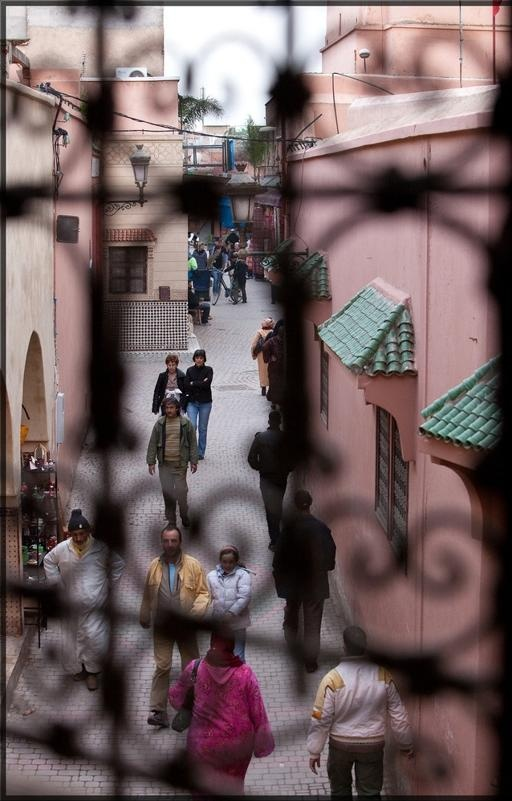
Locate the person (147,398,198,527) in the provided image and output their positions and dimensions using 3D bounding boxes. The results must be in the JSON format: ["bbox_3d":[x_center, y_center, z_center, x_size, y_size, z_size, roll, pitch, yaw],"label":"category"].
[{"bbox_3d":[-0.891,0.629,7.992,0.541,1.296,0.913,-1,8,-14],"label":"person"}]

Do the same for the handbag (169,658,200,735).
[{"bbox_3d":[-0.379,1.656,4.078,0.132,0.450,0.294,8,13,-3],"label":"handbag"}]

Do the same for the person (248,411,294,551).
[{"bbox_3d":[0.136,0.595,6.563,0.389,1.315,0.346,-8,31,-13],"label":"person"}]

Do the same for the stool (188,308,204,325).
[{"bbox_3d":[-1.507,-2.115,19.001,0.461,0.552,0.413,-2,-3,0],"label":"stool"}]

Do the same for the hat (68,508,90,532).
[{"bbox_3d":[-1.310,0.890,5.521,0.143,0.200,0.207,-2,-9,-9],"label":"hat"}]

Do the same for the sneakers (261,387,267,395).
[{"bbox_3d":[0.133,-0.168,13.028,0.103,0.204,0.112,1,-2,0],"label":"sneakers"}]

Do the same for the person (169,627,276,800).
[{"bbox_3d":[-0.208,1.593,3.874,0.575,0.991,0.432,3,8,10],"label":"person"}]

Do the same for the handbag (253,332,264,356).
[{"bbox_3d":[0.076,-0.968,12.693,0.118,0.380,0.250,17,-19,-40],"label":"handbag"}]

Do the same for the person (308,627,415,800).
[{"bbox_3d":[0.590,1.868,4.228,0.593,0.940,0.297,2,8,2],"label":"person"}]

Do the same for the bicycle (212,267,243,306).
[{"bbox_3d":[-0.960,-3.728,24.187,0.712,1.115,1.638,-4,-2,-2],"label":"bicycle"}]

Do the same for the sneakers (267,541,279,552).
[{"bbox_3d":[0.170,1.456,7.528,0.078,0.123,0.259,1,-5,-2],"label":"sneakers"}]

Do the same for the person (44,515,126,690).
[{"bbox_3d":[-1.361,1.537,5.874,0.542,1.591,0.370,4,23,1],"label":"person"}]

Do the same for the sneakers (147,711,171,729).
[{"bbox_3d":[-0.720,2.331,5.473,0.075,0.105,0.209,1,-12,9],"label":"sneakers"}]

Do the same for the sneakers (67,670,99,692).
[{"bbox_3d":[-1.389,2.213,5.982,0.096,0.215,0.283,-1,-6,-35],"label":"sneakers"}]
